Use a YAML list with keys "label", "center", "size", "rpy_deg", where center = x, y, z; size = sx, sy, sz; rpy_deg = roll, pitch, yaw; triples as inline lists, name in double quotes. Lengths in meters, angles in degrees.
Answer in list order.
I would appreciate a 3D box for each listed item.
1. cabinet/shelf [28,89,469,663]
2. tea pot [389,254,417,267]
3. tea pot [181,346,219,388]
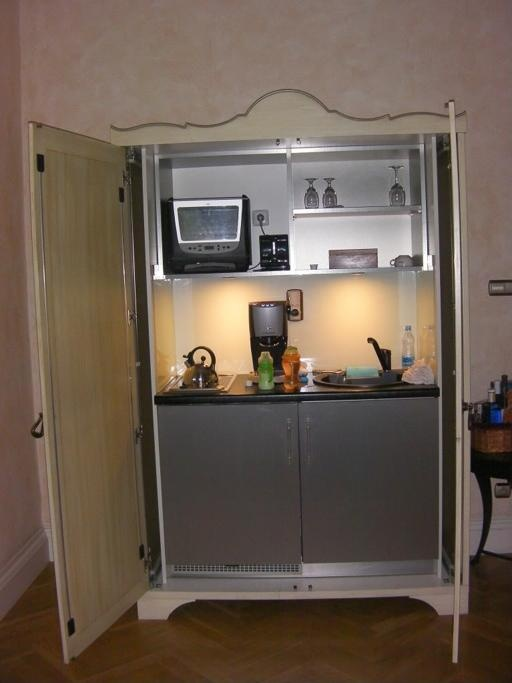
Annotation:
- label: "cabinet/shelf"
  center: [0.046, 0.066, 2.706]
  size: [1.688, 2.155, 1.160]
  rpy_deg: [-3, 5, -8]
- label: "tea pot"
  center: [0.718, -0.391, 2.948]
  size: [0.102, 0.065, 0.132]
  rpy_deg: [0, 1, 13]
- label: "tea pot"
  center: [-0.280, 0.122, 2.875]
  size: [0.146, 0.218, 0.217]
  rpy_deg: [-1, -5, 25]
